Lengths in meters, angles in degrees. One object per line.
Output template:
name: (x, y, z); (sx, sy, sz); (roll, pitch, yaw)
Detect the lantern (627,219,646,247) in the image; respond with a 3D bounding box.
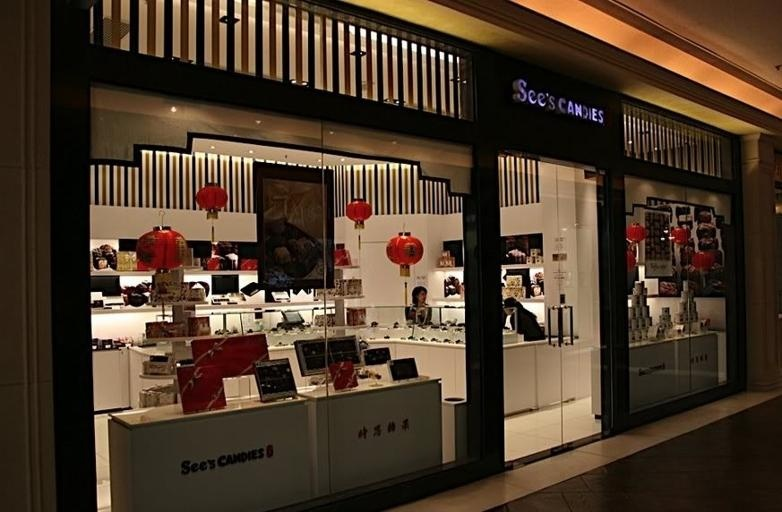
lantern: (3.193, -0.310, 8.179); (0.287, 0.333, 0.277); (-2, 8, -7)

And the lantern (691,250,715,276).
lantern: (4.578, 0.086, 9.179); (0.327, 0.342, 0.302); (-8, 10, -35)

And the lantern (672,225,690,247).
lantern: (4.101, -0.292, 8.896); (0.224, 0.339, 0.328); (-6, -5, 11)

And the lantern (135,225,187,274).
lantern: (-2.237, -0.076, 6.286); (0.458, 0.456, 0.472); (0, 3, 14)
